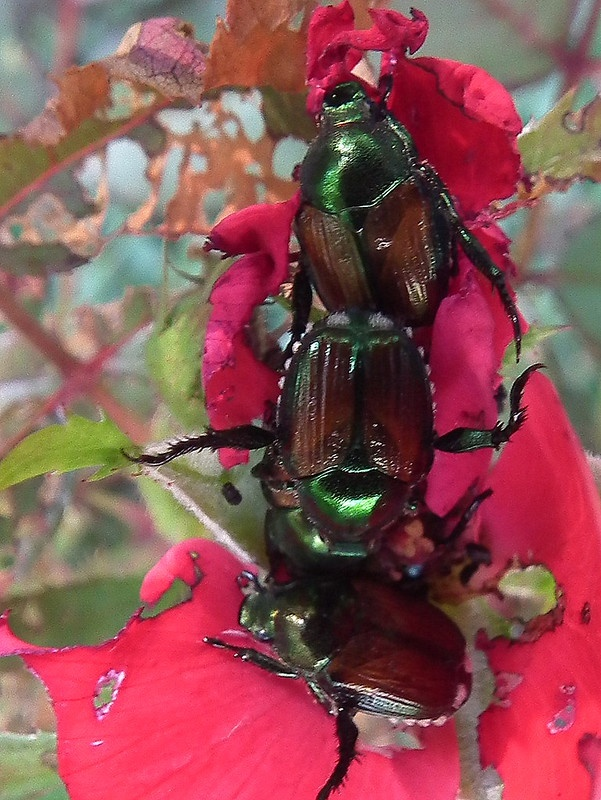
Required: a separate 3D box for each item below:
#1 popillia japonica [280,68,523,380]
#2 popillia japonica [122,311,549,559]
[{"bbox_3d":[0.082,-0.126,0.645,0.176,0.076,0.198,-8,101,19],"label":"popillia japonica"},{"bbox_3d":[0.034,0.021,0.644,0.232,0.118,0.167,-43,77,-9],"label":"popillia japonica"}]
